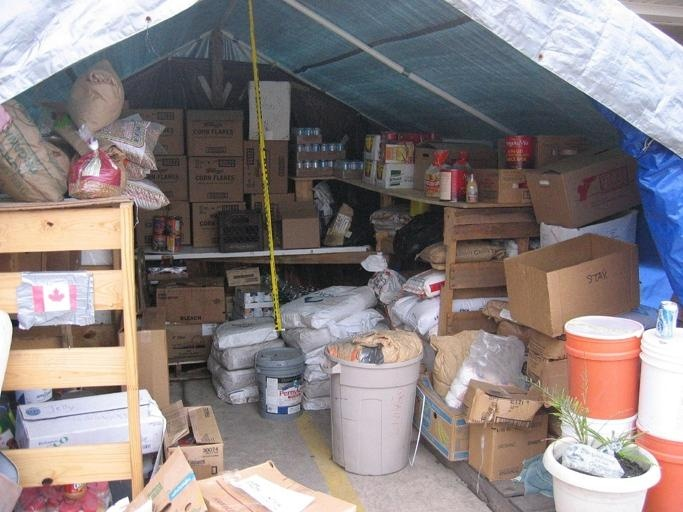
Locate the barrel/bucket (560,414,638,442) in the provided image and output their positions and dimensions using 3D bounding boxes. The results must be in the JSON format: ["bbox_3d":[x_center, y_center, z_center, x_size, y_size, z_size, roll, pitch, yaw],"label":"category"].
[{"bbox_3d":[1.126,0.727,2.348,0.177,0.157,0.161,1,-1,0],"label":"barrel/bucket"}]

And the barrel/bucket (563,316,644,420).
[{"bbox_3d":[1.090,0.466,2.432,0.429,0.382,0.393,-2,6,0],"label":"barrel/bucket"}]

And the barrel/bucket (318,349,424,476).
[{"bbox_3d":[0.074,0.903,3.368,0.665,0.642,0.684,0,2,0],"label":"barrel/bucket"}]

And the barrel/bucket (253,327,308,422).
[{"bbox_3d":[-0.426,0.909,3.956,0.463,0.426,0.431,0,3,0],"label":"barrel/bucket"}]
